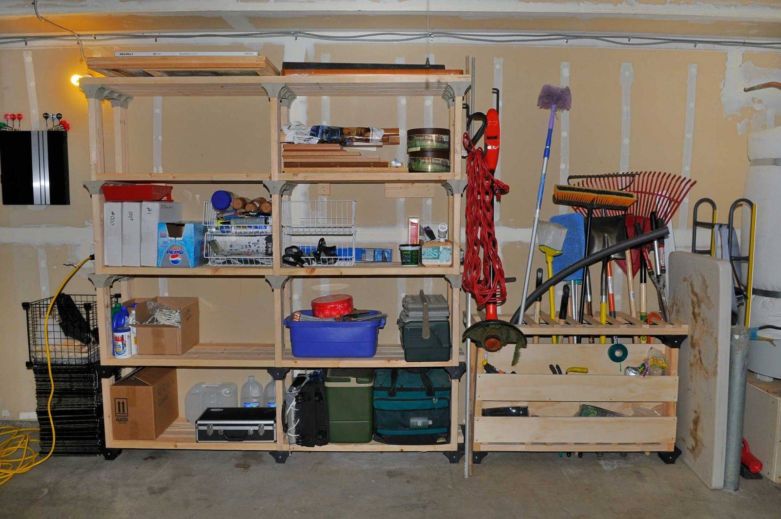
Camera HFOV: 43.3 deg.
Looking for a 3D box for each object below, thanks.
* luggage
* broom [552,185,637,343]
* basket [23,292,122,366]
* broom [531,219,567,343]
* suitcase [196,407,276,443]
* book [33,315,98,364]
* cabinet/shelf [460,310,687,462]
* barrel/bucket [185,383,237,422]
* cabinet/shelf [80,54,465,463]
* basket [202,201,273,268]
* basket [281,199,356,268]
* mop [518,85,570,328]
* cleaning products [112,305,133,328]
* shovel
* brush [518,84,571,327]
[{"bbox_3d":[0.160,1.199,7.848,0.676,0.586,0.415,-1,12,2],"label":"luggage"},{"bbox_3d":[1.628,-0.053,8.086,0.651,1.122,0.352,5,-1,3],"label":"broom"},{"bbox_3d":[-2.638,0.474,8.253,0.746,0.638,0.580,0,5,2],"label":"basket"},{"bbox_3d":[1.342,0.160,8.200,0.175,0.865,0.239,0,24,12],"label":"broom"},{"bbox_3d":[-1.254,1.339,8.202,0.760,0.233,0.551,1,5,-2],"label":"suitcase"},{"bbox_3d":[-2.676,0.642,8.202,0.445,0.412,0.506,1,0,14],"label":"book"},{"bbox_3d":[1.461,1.025,8.260,1.791,1.105,1.023,0,8,1],"label":"cabinet/shelf"},{"bbox_3d":[-1.533,1.177,8.315,0.397,0.330,0.321,1,6,-7],"label":"barrel/bucket"},{"bbox_3d":[-0.948,-0.052,7.978,3.082,3.174,1.015,0,4,-2],"label":"cabinet/shelf"},{"bbox_3d":[-1.236,-0.175,7.924,0.574,0.462,0.223,-1,3,0],"label":"basket"},{"bbox_3d":[-0.600,-0.214,8.067,0.744,0.634,0.527,0,1,0],"label":"basket"},{"bbox_3d":[1.232,-0.495,8.047,0.301,1.878,0.325,9,16,11],"label":"mop"},{"bbox_3d":[-2.189,0.479,7.962,0.152,0.175,0.167,-2,3,-15],"label":"cleaning products"},{"bbox_3d":[1.797,0.178,8.080,0.440,1.186,0.139,-16,20,-40],"label":"shovel"},{"bbox_3d":[1.186,-0.278,7.941,0.361,2.230,0.402,2,10,3],"label":"brush"}]
